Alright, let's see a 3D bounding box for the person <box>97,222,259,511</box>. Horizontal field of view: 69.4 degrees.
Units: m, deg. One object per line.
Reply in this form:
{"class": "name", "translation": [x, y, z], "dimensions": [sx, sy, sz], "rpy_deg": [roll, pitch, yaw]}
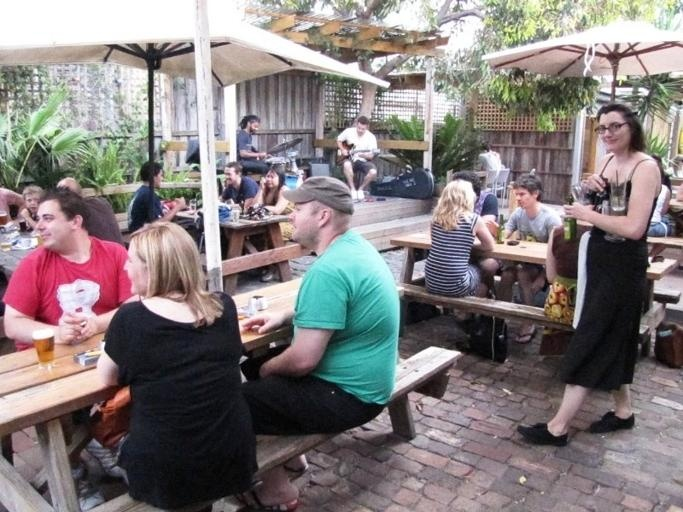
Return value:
{"class": "person", "translation": [-0.702, 0.502, 2.224], "dimensions": [0.510, 1.223, 0.470], "rpy_deg": [1, 16, 16]}

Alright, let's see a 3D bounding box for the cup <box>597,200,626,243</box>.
{"class": "cup", "translation": [1.811, -0.243, 3.314], "dimensions": [0.200, 0.266, 0.127], "rpy_deg": [10, 20, 41]}

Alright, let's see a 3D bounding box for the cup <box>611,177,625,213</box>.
{"class": "cup", "translation": [1.828, -0.379, 3.265], "dimensions": [0.099, 0.204, 0.083], "rpy_deg": [4, 17, 25]}

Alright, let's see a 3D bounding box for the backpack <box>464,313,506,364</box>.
{"class": "backpack", "translation": [1.422, 0.813, 4.846], "dimensions": [0.444, 0.404, 0.239], "rpy_deg": [12, 21, 43]}

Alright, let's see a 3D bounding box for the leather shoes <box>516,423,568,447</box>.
{"class": "leather shoes", "translation": [1.430, 1.291, 3.550], "dimensions": [0.341, 0.126, 0.134], "rpy_deg": [4, 0, 20]}

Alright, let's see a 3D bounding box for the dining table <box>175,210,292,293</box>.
{"class": "dining table", "translation": [-1.278, -0.136, 6.667], "dimensions": [1.261, 0.758, 1.196], "rpy_deg": [-5, 6, -38]}

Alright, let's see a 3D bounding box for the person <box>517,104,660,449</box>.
{"class": "person", "translation": [1.749, 0.176, 3.480], "dimensions": [0.796, 2.321, 1.004], "rpy_deg": [3, 10, 38]}

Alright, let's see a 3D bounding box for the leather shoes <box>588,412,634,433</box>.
{"class": "leather shoes", "translation": [2.008, 1.252, 3.749], "dimensions": [0.381, 0.139, 0.132], "rpy_deg": [-1, -8, -5]}

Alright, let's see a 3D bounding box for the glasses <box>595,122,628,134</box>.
{"class": "glasses", "translation": [1.807, -0.878, 3.381], "dimensions": [0.128, 0.081, 0.250], "rpy_deg": [-4, 14, -6]}

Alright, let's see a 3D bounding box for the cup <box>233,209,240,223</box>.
{"class": "cup", "translation": [-1.382, -0.532, 6.468], "dimensions": [0.092, 0.147, 0.243], "rpy_deg": [-6, 14, -14]}

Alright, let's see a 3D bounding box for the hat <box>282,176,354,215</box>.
{"class": "hat", "translation": [-0.117, -0.337, 2.735], "dimensions": [0.328, 0.130, 0.209], "rpy_deg": [9, 3, -1]}

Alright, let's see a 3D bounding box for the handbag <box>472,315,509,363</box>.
{"class": "handbag", "translation": [1.452, 0.809, 4.827], "dimensions": [0.243, 0.414, 0.386], "rpy_deg": [-21, 27, -40]}

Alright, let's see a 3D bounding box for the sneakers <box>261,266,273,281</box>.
{"class": "sneakers", "translation": [-1.088, 0.256, 7.294], "dimensions": [0.224, 0.148, 0.396], "rpy_deg": [0, -1, -4]}
